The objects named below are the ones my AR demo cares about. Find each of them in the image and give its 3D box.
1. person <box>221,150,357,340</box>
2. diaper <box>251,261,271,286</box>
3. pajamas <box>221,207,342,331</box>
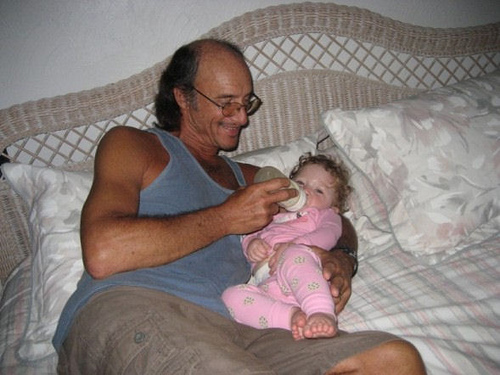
[{"bbox_3d":[0.192,0.209,1.867,0.587,0.463,1.126,-8,21,24],"label":"person"},{"bbox_3d":[0.046,0.371,1.786,0.081,0.107,0.029,-7,55,-51],"label":"diaper"},{"bbox_3d":[0.191,0.338,1.727,0.345,0.211,0.550,1,33,19],"label":"pajamas"}]
